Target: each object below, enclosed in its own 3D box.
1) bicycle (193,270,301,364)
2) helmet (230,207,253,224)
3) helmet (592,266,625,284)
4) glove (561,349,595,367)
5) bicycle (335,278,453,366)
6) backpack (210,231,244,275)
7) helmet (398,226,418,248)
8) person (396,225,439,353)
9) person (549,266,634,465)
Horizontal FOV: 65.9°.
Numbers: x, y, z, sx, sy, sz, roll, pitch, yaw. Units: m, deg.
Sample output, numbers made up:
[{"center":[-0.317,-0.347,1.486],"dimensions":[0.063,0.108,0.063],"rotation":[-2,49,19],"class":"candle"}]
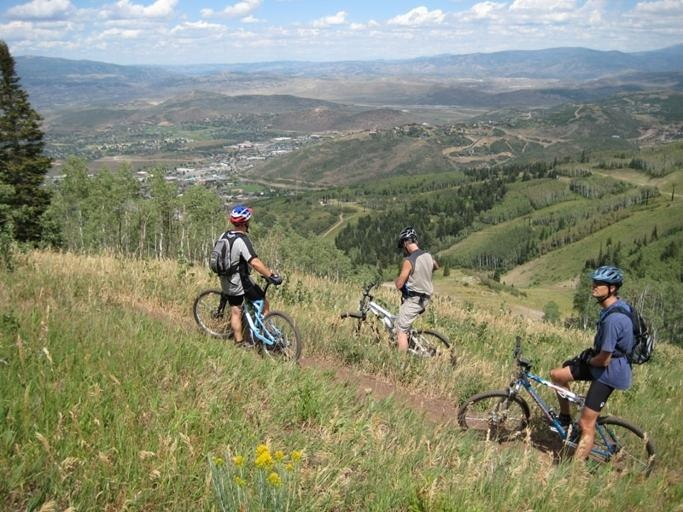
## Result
[{"center":[-1.486,1.184,9.429],"dimensions":[2.153,1.332,1.102],"rotation":[15,16,34],"class":"bicycle"},{"center":[-1.667,-0.671,8.808],"dimensions":[0.419,0.313,0.417],"rotation":[1,15,4],"class":"helmet"},{"center":[3.765,0.305,7.408],"dimensions":[0.376,0.193,0.274],"rotation":[3,5,-16],"class":"helmet"},{"center":[3.429,1.456,7.564],"dimensions":[0.232,0.401,0.111],"rotation":[20,40,-40],"class":"glove"},{"center":[1.256,1.489,10.071],"dimensions":[2.167,1.397,1.112],"rotation":[22,32,32],"class":"bicycle"},{"center":[-1.918,0.002,8.774],"dimensions":[0.495,0.765,0.306],"rotation":[-5,15,-16],"class":"backpack"},{"center":[1.175,-0.317,9.538],"dimensions":[0.292,0.354,0.407],"rotation":[-1,15,-8],"class":"helmet"},{"center":[1.356,0.597,9.502],"dimensions":[0.726,2.119,1.286],"rotation":[2,15,9],"class":"person"},{"center":[3.608,1.511,7.369],"dimensions":[0.863,2.591,0.957],"rotation":[-2,15,-6],"class":"person"}]
